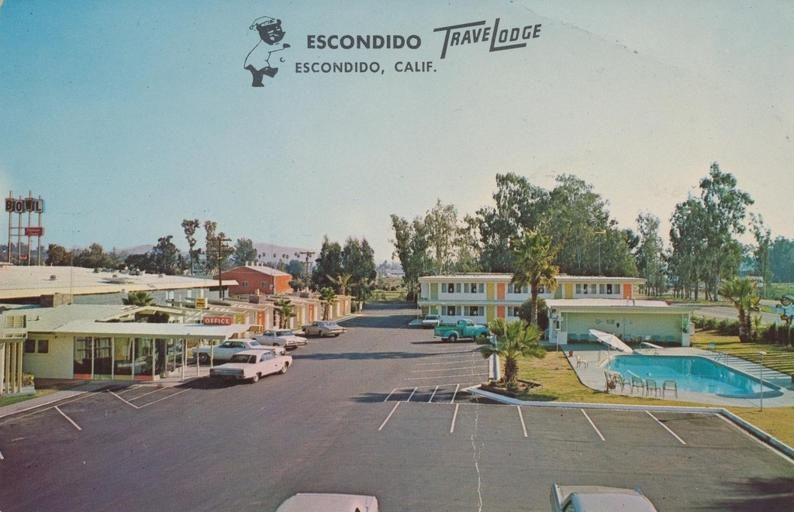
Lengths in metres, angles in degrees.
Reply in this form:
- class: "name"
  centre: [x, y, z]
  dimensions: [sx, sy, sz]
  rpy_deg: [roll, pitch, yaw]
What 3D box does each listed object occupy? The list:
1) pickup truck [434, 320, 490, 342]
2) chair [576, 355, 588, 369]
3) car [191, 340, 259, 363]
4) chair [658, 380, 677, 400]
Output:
- class: "pickup truck"
  centre: [5.888, 7.236, 65.159]
  dimensions: [5.392, 2.226, 2.396]
  rpy_deg: [0, -1, -12]
- class: "chair"
  centre: [14.252, 8.247, 52.230]
  dimensions: [0.677, 1.039, 0.700]
  rpy_deg: [-1, -1, 40]
- class: "car"
  centre: [-13.441, 7.345, 52.554]
  dimensions: [4.315, 1.519, 2.117]
  rpy_deg: [0, -2, 15]
- class: "chair"
  centre: [17.831, 8.803, 44.486]
  dimensions: [1.064, 1.901, 1.312]
  rpy_deg: [-2, -10, 18]
